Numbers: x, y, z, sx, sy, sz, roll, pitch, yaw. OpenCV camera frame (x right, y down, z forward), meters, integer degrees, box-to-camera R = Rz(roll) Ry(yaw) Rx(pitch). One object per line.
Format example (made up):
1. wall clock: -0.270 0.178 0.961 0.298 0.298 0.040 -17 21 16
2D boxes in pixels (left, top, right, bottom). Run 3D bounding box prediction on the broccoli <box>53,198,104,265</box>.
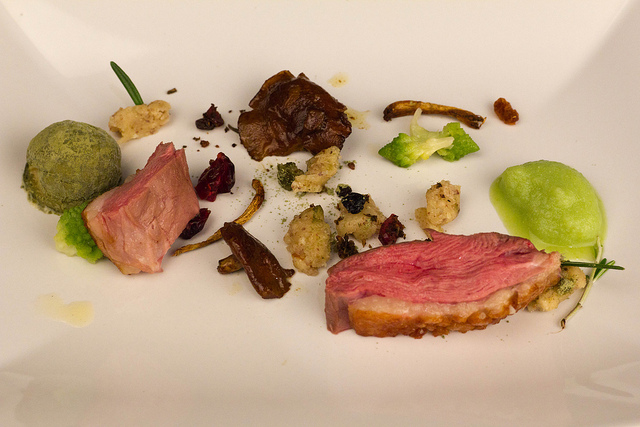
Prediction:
1. broccoli: -1.641 0.129 4.582 0.353 0.158 0.422 -15 96 4
